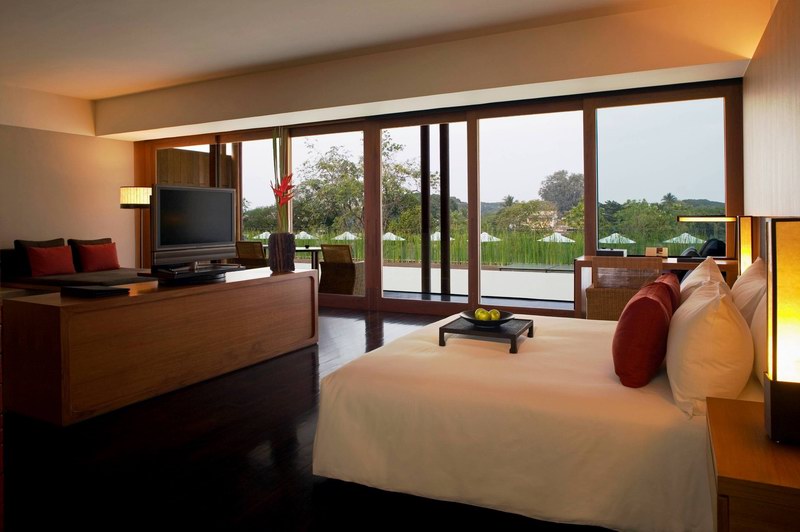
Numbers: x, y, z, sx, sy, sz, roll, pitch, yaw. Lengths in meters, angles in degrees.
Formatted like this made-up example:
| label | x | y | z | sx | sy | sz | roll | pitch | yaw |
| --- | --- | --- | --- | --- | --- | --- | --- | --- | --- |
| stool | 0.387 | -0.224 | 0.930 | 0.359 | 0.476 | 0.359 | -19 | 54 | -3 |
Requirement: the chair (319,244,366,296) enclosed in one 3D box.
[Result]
| label | x | y | z | sx | sy | sz | roll | pitch | yaw |
| --- | --- | --- | --- | --- | --- | --- | --- | --- | --- |
| chair | -0.900 | 0.084 | 8.144 | 0.538 | 0.772 | 0.557 | 3 | 3 | 10 |

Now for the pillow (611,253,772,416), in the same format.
| label | x | y | z | sx | sy | sz | roll | pitch | yaw |
| --- | --- | --- | --- | --- | --- | --- | --- | --- | --- |
| pillow | 1.784 | 0.443 | 3.210 | 0.663 | 0.629 | 0.813 | 1 | 8 | 35 |

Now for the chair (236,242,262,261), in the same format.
| label | x | y | z | sx | sy | sz | roll | pitch | yaw |
| --- | --- | --- | --- | --- | --- | --- | --- | --- | --- |
| chair | -2.209 | -0.215 | 7.844 | 0.219 | 0.422 | 0.279 | 3 | 6 | 14 |

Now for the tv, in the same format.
| label | x | y | z | sx | sy | sz | roll | pitch | yaw |
| --- | --- | --- | --- | --- | --- | --- | --- | --- | --- |
| tv | -1.830 | -0.330 | 4.704 | 0.090 | 0.688 | 0.867 | 2 | 3 | 30 |

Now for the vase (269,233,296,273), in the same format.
| label | x | y | z | sx | sy | sz | roll | pitch | yaw |
| --- | --- | --- | --- | --- | --- | --- | --- | --- | --- |
| vase | -1.271 | -0.139 | 5.769 | 0.292 | 0.443 | 0.291 | 2 | 5 | 16 |

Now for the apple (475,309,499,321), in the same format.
| label | x | y | z | sx | sy | sz | roll | pitch | yaw |
| --- | --- | --- | --- | --- | --- | --- | --- | --- | --- |
| apple | 0.648 | 0.367 | 3.929 | 0.123 | 0.056 | 0.098 | 0 | -2 | 30 |
